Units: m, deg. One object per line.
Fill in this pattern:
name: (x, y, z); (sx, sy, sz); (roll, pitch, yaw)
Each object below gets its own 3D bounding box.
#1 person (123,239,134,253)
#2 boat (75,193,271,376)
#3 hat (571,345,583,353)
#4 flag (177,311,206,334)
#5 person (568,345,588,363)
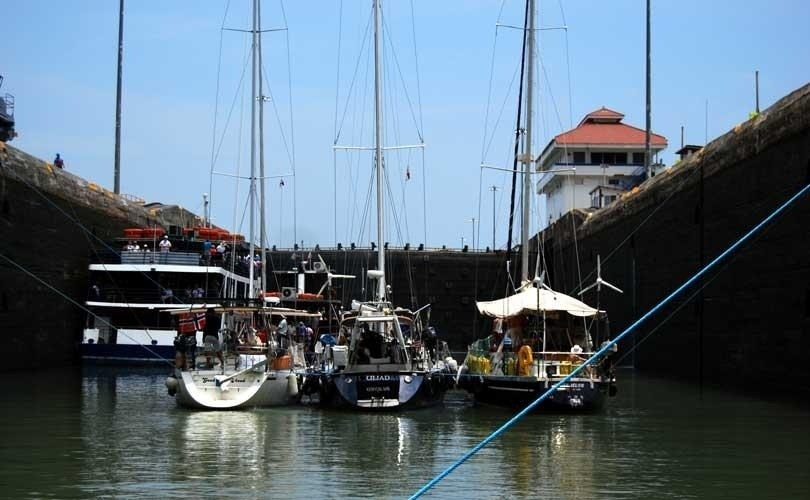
person: (-12.803, -0.148, 57.622); (0.495, 0.497, 1.555); (3, 8, -3)
boat: (-11.313, 1.292, 58.316); (7.206, 7.159, 14.886); (1, -6, 4)
hat: (6.082, 3.482, 43.643); (0.332, 0.351, 0.254); (1, -29, 5)
flag: (-8.450, 2.881, 49.364); (1.222, 0.963, 0.088); (-1, -15, 10)
person: (6.105, 3.677, 43.651); (0.563, 0.759, 0.272); (2, 10, 0)
